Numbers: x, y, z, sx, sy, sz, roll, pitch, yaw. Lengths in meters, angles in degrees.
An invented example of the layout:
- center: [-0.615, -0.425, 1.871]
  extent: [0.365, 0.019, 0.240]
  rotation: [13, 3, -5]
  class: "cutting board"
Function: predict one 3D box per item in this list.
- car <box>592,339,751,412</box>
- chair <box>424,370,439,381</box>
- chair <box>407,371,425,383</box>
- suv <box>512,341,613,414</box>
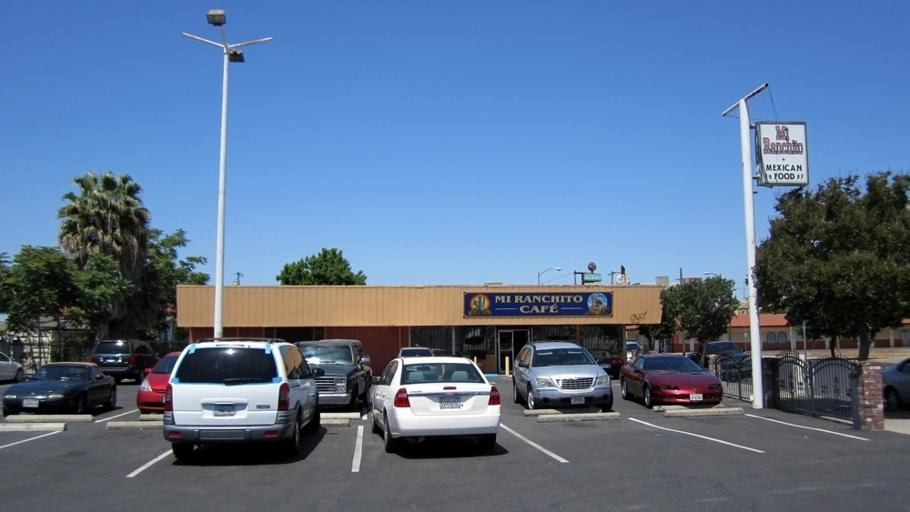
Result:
- center: [8.944, 5.366, 32.210]
  extent: [2.417, 2.229, 4.109]
  rotation: [-2, 5, -29]
  class: "car"
- center: [-0.748, 3.793, 24.444]
  extent: [0.466, 0.380, 0.244]
  rotation: [1, -29, -8]
  class: "chair"
- center: [-1.249, 3.847, 24.406]
  extent: [0.515, 0.327, 0.271]
  rotation: [1, -13, -3]
  class: "chair"
- center: [4.155, 5.075, 31.233]
  extent: [2.928, 2.726, 3.922]
  rotation: [-3, 5, -31]
  class: "suv"
